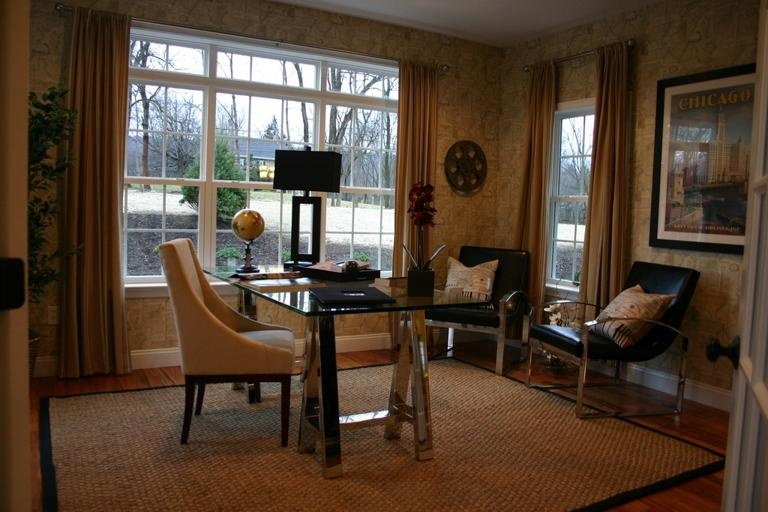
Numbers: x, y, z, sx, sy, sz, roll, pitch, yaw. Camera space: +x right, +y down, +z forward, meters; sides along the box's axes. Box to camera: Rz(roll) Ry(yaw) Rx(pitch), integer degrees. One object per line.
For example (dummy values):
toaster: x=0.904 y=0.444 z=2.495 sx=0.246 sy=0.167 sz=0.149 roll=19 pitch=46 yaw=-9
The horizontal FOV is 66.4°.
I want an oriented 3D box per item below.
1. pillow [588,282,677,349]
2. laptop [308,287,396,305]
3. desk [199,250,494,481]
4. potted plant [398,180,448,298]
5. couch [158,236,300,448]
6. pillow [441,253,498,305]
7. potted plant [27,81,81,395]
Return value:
pillow: x=1.958 y=0.486 z=4.688 sx=0.664 sy=0.394 sz=0.550 roll=1 pitch=10 yaw=-7
laptop: x=-0.190 y=0.233 z=3.519 sx=0.471 sy=0.043 sz=0.379 roll=-1 pitch=10 yaw=-16
desk: x=-0.176 y=0.726 z=3.771 sx=1.508 sy=1.126 sz=1.056 roll=4 pitch=10 yaw=8
potted plant: x=0.245 y=-0.105 z=3.851 sx=0.321 sy=0.739 sz=0.216 roll=-1 pitch=1 yaw=-3
couch: x=-0.965 y=0.514 z=4.685 sx=1.354 sy=1.871 sz=1.153 roll=0 pitch=2 yaw=-8
pillow: x=0.824 y=0.211 z=5.507 sx=0.489 sy=0.190 sz=0.442 roll=7 pitch=48 yaw=31
potted plant: x=-2.636 y=-0.278 z=4.648 sx=0.418 sy=2.201 sz=0.778 roll=-3 pitch=12 yaw=-28
